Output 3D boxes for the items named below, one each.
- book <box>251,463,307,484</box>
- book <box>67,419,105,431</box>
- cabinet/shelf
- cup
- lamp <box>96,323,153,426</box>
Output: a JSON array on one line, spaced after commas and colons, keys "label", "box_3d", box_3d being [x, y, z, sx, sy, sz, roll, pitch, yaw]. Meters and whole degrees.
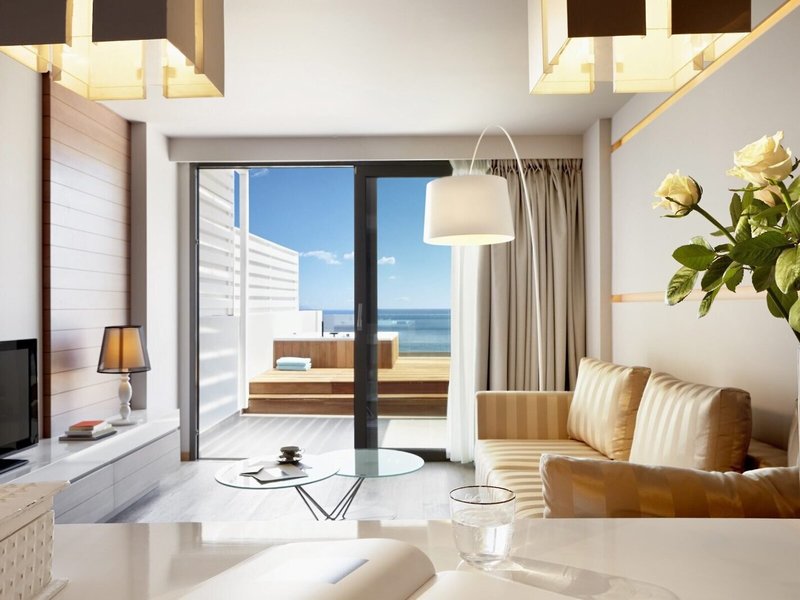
[{"label": "book", "box_3d": [-0.581, 0.836, 2.942, 0.256, 0.051, 0.261, 2, -8, -16]}, {"label": "book", "box_3d": [-1.699, 0.698, 3.359, 0.097, 0.024, 0.092, 2, 1, 10]}, {"label": "cabinet/shelf", "box_3d": [-1.682, 0.941, 3.340, 0.417, 0.536, 1.314, 0, -7, 3]}, {"label": "cup", "box_3d": [0.144, 0.382, 1.061, 0.121, 0.122, 0.105, -4, -2, 38]}, {"label": "lamp", "box_3d": [-1.747, 0.456, 3.830, 0.293, 0.635, 0.435, 4, -8, -26]}]
